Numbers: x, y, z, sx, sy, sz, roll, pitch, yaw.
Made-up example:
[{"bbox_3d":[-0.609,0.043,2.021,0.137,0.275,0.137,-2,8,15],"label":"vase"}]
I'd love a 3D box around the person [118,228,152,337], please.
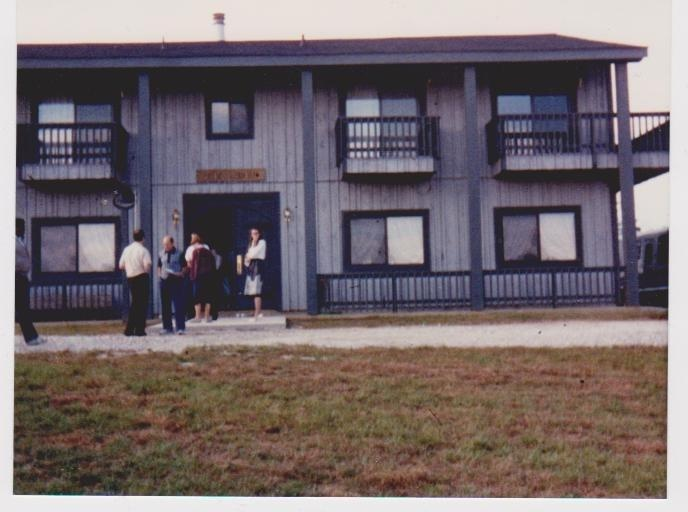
[{"bbox_3d":[-4.096,0.516,26.232,0.581,2.076,0.573,-1,-1,-11],"label":"person"}]

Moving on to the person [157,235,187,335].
[{"bbox_3d":[-3.387,0.552,26.300,0.536,1.914,0.945,-1,-1,-9],"label":"person"}]

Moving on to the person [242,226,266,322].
[{"bbox_3d":[-1.849,0.337,27.687,0.476,1.841,1.607,-1,-1,-4],"label":"person"}]

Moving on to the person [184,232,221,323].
[{"bbox_3d":[-2.789,0.526,26.472,0.673,1.501,0.670,-1,-1,-14],"label":"person"}]

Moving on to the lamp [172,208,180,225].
[{"bbox_3d":[-3.467,-0.840,27.525,0.221,0.386,0.222,0,-4,1],"label":"lamp"}]

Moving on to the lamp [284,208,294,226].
[{"bbox_3d":[-1.184,-0.881,28.736,0.230,0.561,0.264,1,-2,-4],"label":"lamp"}]
